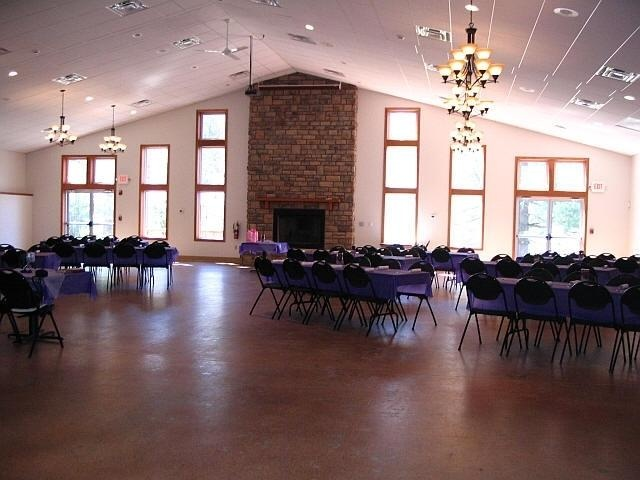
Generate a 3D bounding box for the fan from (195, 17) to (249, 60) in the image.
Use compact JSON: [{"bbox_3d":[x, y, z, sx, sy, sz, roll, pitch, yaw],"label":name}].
[{"bbox_3d":[-2.615,-5.695,13.723,1.244,0.874,1.133,3,15,0],"label":"fan"}]
